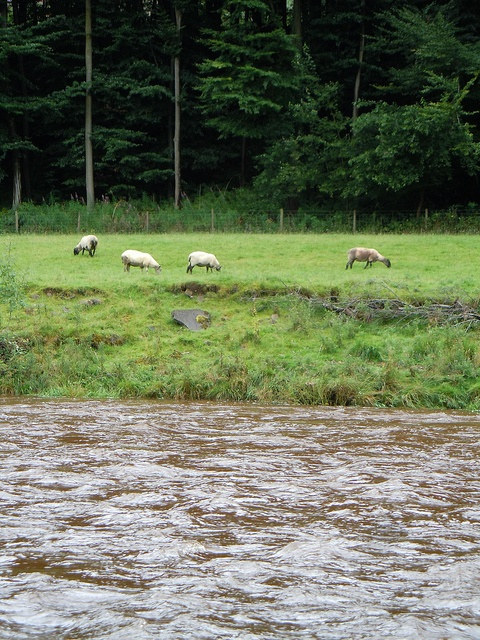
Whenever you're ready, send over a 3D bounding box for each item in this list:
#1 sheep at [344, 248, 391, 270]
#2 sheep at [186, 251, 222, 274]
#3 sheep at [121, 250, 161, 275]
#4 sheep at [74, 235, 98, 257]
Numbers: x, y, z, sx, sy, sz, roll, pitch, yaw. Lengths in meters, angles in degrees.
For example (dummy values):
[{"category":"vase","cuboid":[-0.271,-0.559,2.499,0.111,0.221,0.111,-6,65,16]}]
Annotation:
[{"category":"sheep","cuboid":[4.114,-2.023,40.809,1.502,0.655,1.402,1,5,0]},{"category":"sheep","cuboid":[-1.116,-1.820,39.536,1.054,0.645,1.020,0,4,-3]},{"category":"sheep","cuboid":[-3.078,-1.864,39.689,1.346,0.661,0.925,1,4,10]},{"category":"sheep","cuboid":[-5.236,-2.562,43.209,0.801,0.716,1.265,0,5,-10]}]
